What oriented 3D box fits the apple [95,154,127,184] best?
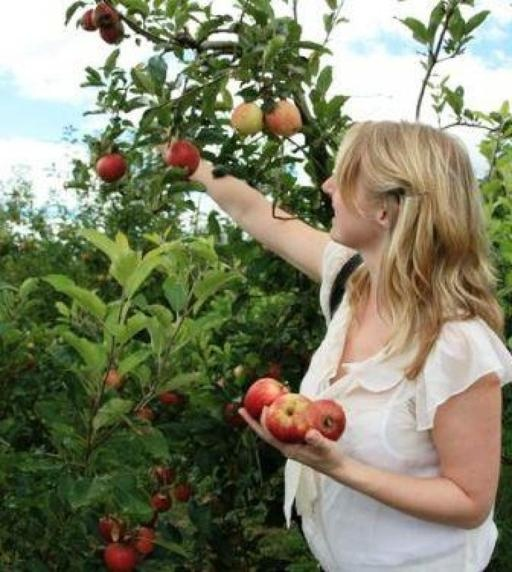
[{"bbox_3d":[-0.373,-0.316,1.564,0.082,0.072,0.074,-3,46,5],"label":"apple"}]

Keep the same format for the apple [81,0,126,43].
[{"bbox_3d":[-0.400,-0.692,1.501,0.115,0.107,0.084,1,11,-13],"label":"apple"}]
